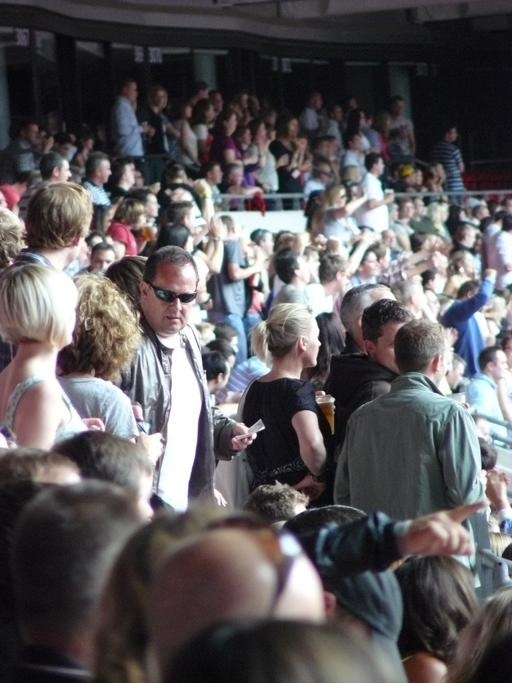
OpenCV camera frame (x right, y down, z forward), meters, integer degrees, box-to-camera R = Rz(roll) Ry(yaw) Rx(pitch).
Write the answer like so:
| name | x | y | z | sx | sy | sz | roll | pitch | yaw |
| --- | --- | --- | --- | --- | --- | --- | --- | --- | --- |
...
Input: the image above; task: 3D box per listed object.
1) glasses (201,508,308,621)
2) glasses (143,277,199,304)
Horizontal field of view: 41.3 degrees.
| name | x | y | z | sx | sy | sz | roll | pitch | yaw |
| --- | --- | --- | --- | --- | --- | --- | --- | --- | --- |
| glasses | -0.001 | 0.148 | 0.457 | 0.050 | 0.037 | 0.054 | 25 | 11 | -14 |
| glasses | -0.295 | -0.174 | 2.371 | 0.177 | 0.079 | 0.091 | -2 | 13 | -8 |
